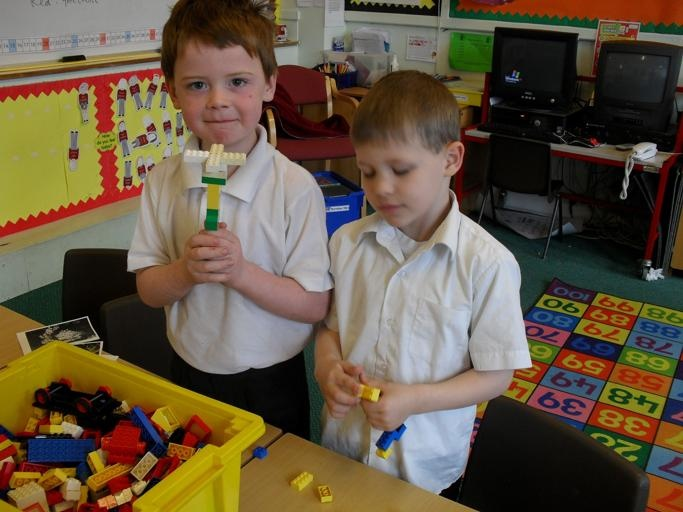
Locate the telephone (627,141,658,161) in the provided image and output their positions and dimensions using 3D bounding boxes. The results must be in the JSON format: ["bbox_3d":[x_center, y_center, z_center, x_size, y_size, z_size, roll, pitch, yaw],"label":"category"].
[{"bbox_3d":[1.942,-0.678,3.314,0.122,0.059,0.169,16,35,41],"label":"telephone"}]

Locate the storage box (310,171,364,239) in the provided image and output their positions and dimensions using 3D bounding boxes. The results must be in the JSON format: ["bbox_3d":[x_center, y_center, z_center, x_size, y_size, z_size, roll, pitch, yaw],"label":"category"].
[{"bbox_3d":[-0.015,-0.368,3.656,0.318,0.292,0.491,-13,28,-23],"label":"storage box"}]

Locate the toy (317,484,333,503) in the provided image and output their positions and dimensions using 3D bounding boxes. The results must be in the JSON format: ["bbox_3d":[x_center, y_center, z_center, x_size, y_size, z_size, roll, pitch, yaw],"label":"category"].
[{"bbox_3d":[-0.031,0.441,0.967,0.027,0.014,0.034,-5,23,-10],"label":"toy"}]

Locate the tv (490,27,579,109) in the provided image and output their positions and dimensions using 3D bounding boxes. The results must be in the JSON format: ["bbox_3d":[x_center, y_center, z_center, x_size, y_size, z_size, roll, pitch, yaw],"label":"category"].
[{"bbox_3d":[1.386,-1.349,3.723,0.488,0.430,0.289,14,32,30],"label":"tv"}]

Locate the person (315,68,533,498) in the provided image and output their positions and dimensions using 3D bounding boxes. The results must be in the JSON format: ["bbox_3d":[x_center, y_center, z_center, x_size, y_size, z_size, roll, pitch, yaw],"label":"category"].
[{"bbox_3d":[0.154,0.143,1.122,0.430,1.010,0.361,-3,21,-5],"label":"person"}]

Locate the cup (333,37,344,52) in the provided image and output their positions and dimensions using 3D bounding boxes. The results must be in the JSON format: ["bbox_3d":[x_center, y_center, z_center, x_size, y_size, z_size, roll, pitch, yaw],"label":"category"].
[{"bbox_3d":[-0.012,-2.012,4.888,0.086,0.128,0.201,8,24,23],"label":"cup"}]

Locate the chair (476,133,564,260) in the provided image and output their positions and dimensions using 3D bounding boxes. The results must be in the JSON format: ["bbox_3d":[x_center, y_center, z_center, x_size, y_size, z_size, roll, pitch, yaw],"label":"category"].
[{"bbox_3d":[1.269,-0.418,3.604,0.516,0.854,0.588,13,42,25],"label":"chair"}]

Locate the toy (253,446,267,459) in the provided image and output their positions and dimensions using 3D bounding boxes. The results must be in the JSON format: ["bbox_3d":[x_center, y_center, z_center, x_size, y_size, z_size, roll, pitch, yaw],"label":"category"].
[{"bbox_3d":[-0.166,0.397,1.050,0.020,0.013,0.020,14,27,25],"label":"toy"}]

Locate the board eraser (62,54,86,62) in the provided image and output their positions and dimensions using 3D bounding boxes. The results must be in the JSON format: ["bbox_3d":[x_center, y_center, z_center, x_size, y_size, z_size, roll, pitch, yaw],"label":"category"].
[{"bbox_3d":[-1.506,-1.109,2.904,0.085,0.022,0.063,-10,-21,-13],"label":"board eraser"}]
